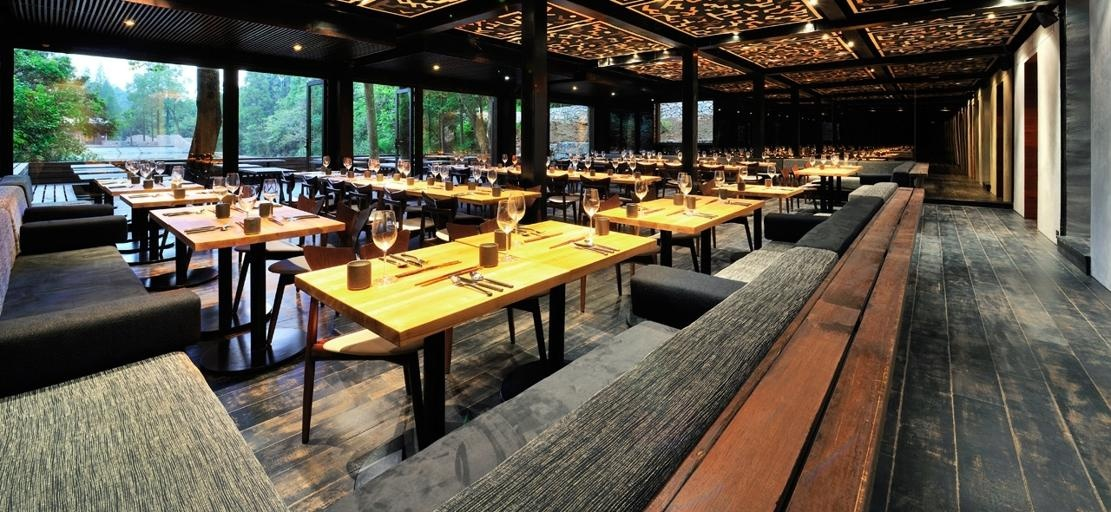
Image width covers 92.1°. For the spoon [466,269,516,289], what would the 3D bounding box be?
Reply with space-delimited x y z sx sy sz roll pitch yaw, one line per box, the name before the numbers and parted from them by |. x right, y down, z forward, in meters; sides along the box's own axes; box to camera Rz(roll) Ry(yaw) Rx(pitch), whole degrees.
spoon | -0.769 0.274 6.085 0.678 0.074 0.187 19 39 25

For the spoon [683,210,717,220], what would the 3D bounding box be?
spoon | 2.120 -0.596 7.762 0.518 0.061 0.147 10 22 33

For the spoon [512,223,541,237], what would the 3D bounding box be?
spoon | -0.361 -0.349 7.068 0.269 0.037 0.181 18 26 29

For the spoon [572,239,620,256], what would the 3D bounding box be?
spoon | 0.515 -0.100 6.681 0.643 0.028 0.187 15 22 39

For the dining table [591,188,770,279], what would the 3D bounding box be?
dining table | 1.988 -0.552 7.949 1.703 0.933 2.456 6 10 41
